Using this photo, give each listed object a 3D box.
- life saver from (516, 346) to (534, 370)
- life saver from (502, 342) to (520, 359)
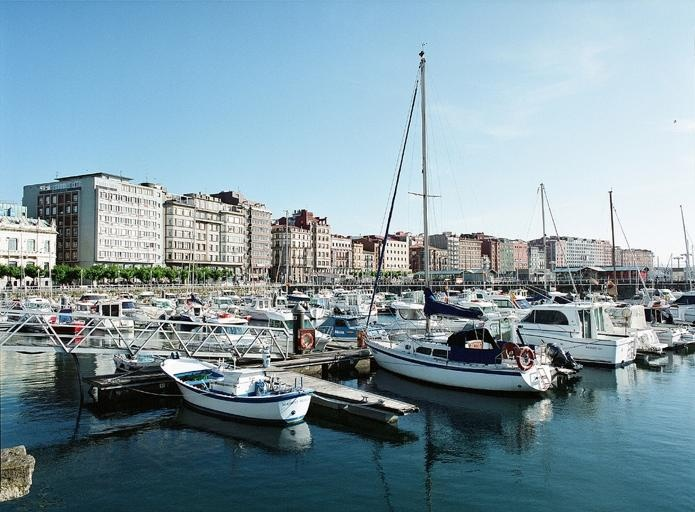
[{"bbox_3d":[8.879,5.122,31.803,1.063,1.088,0.338,-19,6,-33],"label":"life saver"},{"bbox_3d":[8.186,4.729,31.947,0.757,0.736,0.205,3,2,31],"label":"life saver"}]
